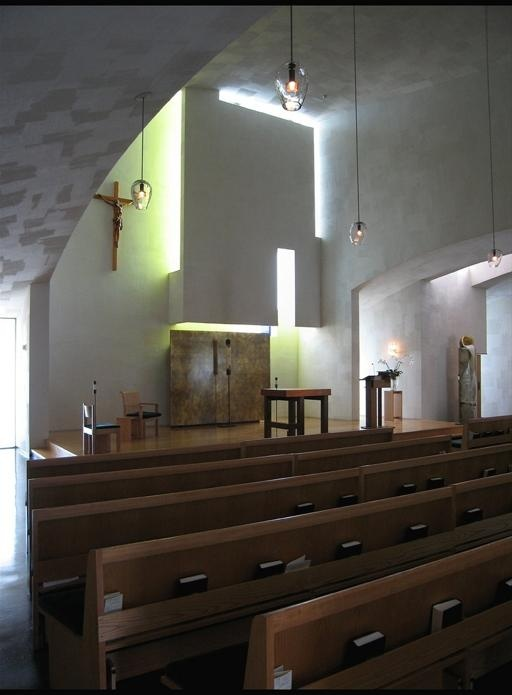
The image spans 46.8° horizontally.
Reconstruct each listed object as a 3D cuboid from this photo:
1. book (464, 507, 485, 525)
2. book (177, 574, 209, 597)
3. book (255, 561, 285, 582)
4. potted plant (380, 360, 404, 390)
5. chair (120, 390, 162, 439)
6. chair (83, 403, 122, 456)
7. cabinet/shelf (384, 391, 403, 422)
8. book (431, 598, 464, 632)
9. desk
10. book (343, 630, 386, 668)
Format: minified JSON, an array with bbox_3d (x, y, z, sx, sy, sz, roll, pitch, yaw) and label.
[{"bbox_3d":[0.979,0.750,2.662,0.061,0.073,0.024,-3,8,-29],"label":"book"},{"bbox_3d":[-0.185,0.678,1.699,0.050,0.056,0.017,3,-8,-30],"label":"book"},{"bbox_3d":[0.040,0.696,1.858,0.057,0.064,0.014,6,-3,-27],"label":"book"},{"bbox_3d":[2.171,0.425,9.370,0.371,0.485,0.424,1,-6,-10],"label":"potted plant"},{"bbox_3d":[-1.537,0.883,7.891,0.498,0.656,0.511,0,-4,-37],"label":"chair"},{"bbox_3d":[-1.677,0.858,6.352,0.328,0.529,0.375,-1,0,-26],"label":"chair"},{"bbox_3d":[2.272,0.952,9.807,0.156,0.439,0.419,-3,-3,39],"label":"cabinet/shelf"},{"bbox_3d":[0.477,0.666,1.484,0.064,0.078,0.026,-2,3,-34],"label":"book"},{"bbox_3d":[0.422,0.713,6.896,0.621,0.791,0.668,2,-6,-24],"label":"desk"},{"bbox_3d":[0.235,0.656,1.296,0.061,0.073,0.026,-2,6,-25],"label":"book"}]
